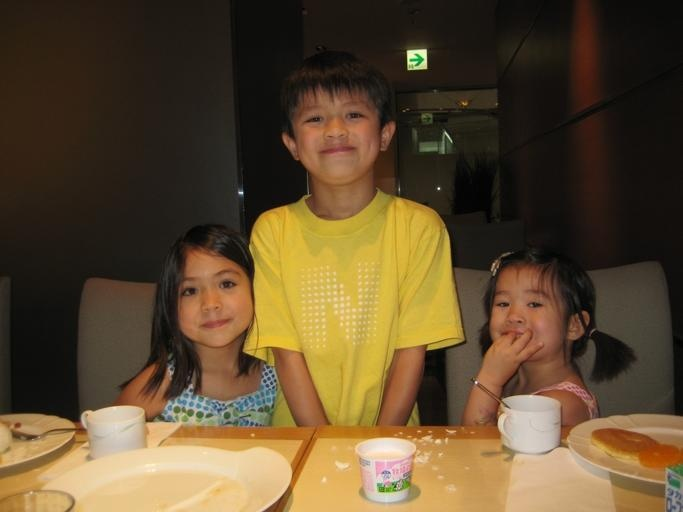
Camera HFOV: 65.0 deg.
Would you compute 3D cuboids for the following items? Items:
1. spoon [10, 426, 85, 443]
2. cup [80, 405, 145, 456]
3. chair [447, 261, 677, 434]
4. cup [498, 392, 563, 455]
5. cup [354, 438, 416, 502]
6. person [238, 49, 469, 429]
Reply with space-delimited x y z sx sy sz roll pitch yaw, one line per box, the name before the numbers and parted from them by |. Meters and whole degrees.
spoon | -0.692 0.404 1.251 0.130 0.025 0.049 0 7 -20
cup | -0.510 0.384 1.207 0.123 0.096 0.097 2 5 34
chair | 0.714 0.342 1.998 0.569 0.795 0.564 1 -15 4
cup | 0.410 0.366 1.191 0.130 0.099 0.098 -7 10 -31
cup | 0.088 0.421 1.087 0.102 0.083 0.106 0 -3 0
person | 0.026 -0.049 1.723 0.686 1.232 0.489 -3 10 -10
